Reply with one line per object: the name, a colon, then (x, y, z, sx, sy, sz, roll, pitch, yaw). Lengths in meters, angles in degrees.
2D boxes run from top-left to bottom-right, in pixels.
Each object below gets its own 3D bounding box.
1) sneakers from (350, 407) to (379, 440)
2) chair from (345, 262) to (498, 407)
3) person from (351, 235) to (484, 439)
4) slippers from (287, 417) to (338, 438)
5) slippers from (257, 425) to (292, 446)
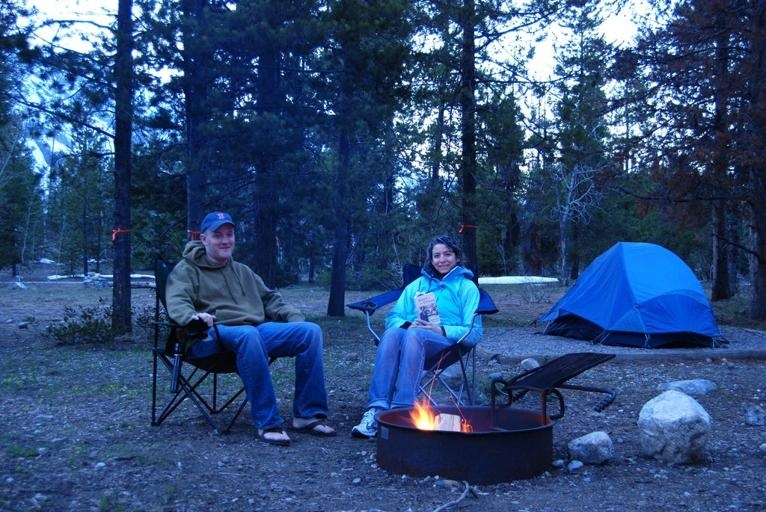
sneakers: (-0.204, 1.823, 8.483, 0.298, 0.306, 0.192, 0, 12, -1)
chair: (0.624, 1.008, 9.302, 1.519, 1.753, 1.065, 3, 2, -5)
person: (0.391, 0.870, 8.757, 1.489, 2.037, 0.884, -9, 15, -37)
slippers: (-0.796, 1.889, 8.517, 0.400, 0.197, 0.216, -1, -3, 10)
slippers: (-1.174, 1.921, 8.304, 0.354, 0.160, 0.228, -2, 12, -10)
